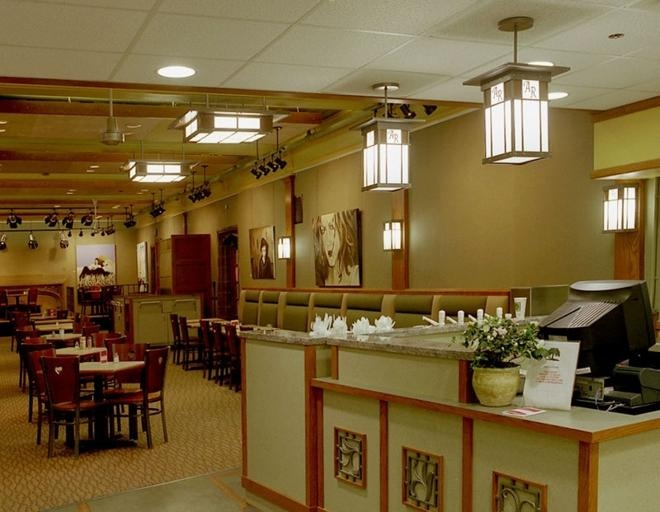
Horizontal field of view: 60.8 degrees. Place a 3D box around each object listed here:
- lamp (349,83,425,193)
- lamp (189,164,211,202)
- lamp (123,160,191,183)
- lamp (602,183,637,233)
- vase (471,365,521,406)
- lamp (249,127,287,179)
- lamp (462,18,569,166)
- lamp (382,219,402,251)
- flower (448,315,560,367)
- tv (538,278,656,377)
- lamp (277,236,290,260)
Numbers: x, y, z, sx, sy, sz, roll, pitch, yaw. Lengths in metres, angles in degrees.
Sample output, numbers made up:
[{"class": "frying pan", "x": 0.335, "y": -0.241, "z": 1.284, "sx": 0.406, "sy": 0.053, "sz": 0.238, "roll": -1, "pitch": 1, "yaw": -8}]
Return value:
[{"class": "lamp", "x": 0.551, "y": -1.159, "z": 5.425, "sx": 0.606, "sy": 1.008, "sz": 0.574, "roll": -1, "pitch": 4, "yaw": 3}, {"class": "lamp", "x": -3.525, "y": -2.004, "z": 15.206, "sx": 0.302, "sy": 0.685, "sz": 0.887, "roll": 6, "pitch": -9, "yaw": -29}, {"class": "lamp", "x": -3.098, "y": -1.523, "z": 10.023, "sx": 1.030, "sy": 0.264, "sz": 1.011, "roll": 0, "pitch": -3, "yaw": -20}, {"class": "lamp", "x": 3.368, "y": -0.464, "z": 6.493, "sx": 0.402, "sy": 0.603, "sz": 0.366, "roll": 1, "pitch": -22, "yaw": 27}, {"class": "vase", "x": 1.006, "y": 0.775, "z": 3.412, "sx": 0.308, "sy": 0.231, "sz": 0.308, "roll": 1, "pitch": -4, "yaw": -9}, {"class": "lamp", "x": -1.288, "y": -2.143, "z": 11.530, "sx": 0.286, "sy": 0.853, "sz": 0.956, "roll": 7, "pitch": -12, "yaw": -41}, {"class": "lamp", "x": 1.326, "y": -1.178, "z": 4.001, "sx": 0.534, "sy": 0.930, "sz": 0.664, "roll": -3, "pitch": 5, "yaw": -15}, {"class": "lamp", "x": 1.039, "y": -0.334, "z": 9.267, "sx": 0.211, "sy": 0.457, "sz": 0.294, "roll": -1, "pitch": -1, "yaw": -31}, {"class": "flower", "x": 1.096, "y": 0.538, "z": 3.416, "sx": 0.403, "sy": 0.274, "sz": 0.525, "roll": 4, "pitch": 8, "yaw": -10}, {"class": "tv", "x": 1.590, "y": 0.361, "z": 3.551, "sx": 0.620, "sy": 0.582, "sz": 0.617, "roll": -8, "pitch": 6, "yaw": -26}, {"class": "lamp", "x": -1.056, "y": -0.167, "z": 12.774, "sx": 0.221, "sy": 0.429, "sz": 0.656, "roll": -1, "pitch": -1, "yaw": -14}]
